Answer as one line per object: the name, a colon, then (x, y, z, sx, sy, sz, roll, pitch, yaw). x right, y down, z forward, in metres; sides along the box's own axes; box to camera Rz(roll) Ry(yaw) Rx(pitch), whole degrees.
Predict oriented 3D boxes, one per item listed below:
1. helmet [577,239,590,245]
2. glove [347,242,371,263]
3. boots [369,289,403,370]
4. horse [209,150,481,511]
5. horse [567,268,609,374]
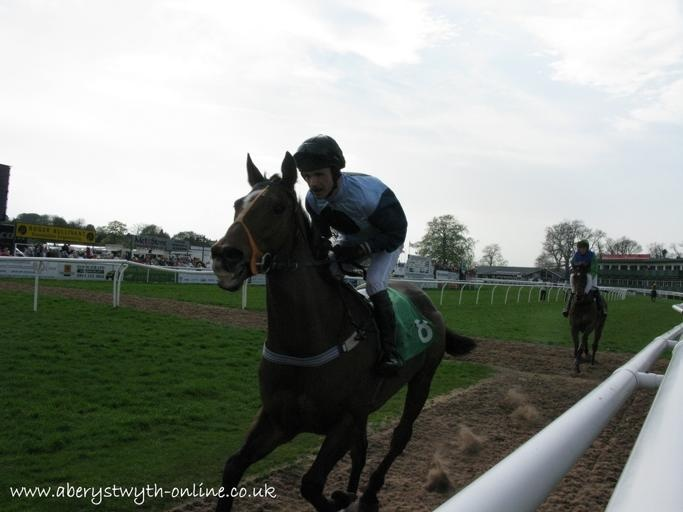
helmet: (3.560, -0.210, 6.958, 0.187, 0.086, 0.260, 3, 5, 24)
glove: (0.083, -0.003, 2.456, 0.086, 0.049, 0.118, 12, -44, -29)
boots: (0.226, 0.399, 2.422, 0.084, 0.375, 0.134, -12, -8, 17)
horse: (-0.064, 0.397, 2.220, 1.223, 1.562, 0.490, 4, -1, -44)
horse: (4.064, 1.099, 7.781, 0.567, 1.745, 2.489, 2, -10, 32)
